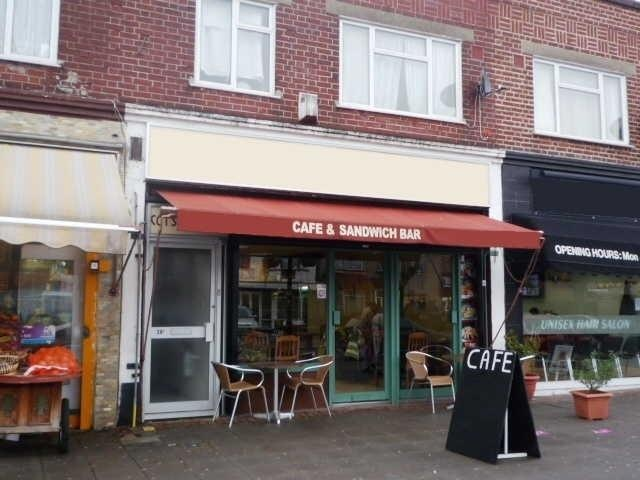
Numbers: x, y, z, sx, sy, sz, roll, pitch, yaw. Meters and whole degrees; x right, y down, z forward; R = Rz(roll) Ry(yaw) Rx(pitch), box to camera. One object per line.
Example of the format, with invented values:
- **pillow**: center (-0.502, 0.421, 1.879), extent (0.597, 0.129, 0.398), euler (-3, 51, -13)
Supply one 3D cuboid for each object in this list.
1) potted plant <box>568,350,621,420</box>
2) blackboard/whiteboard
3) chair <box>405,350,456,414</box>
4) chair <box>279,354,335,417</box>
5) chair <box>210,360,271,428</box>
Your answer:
- **potted plant**: center (5.102, 2.753, 13.511), extent (0.623, 1.233, 0.812), euler (5, -8, -18)
- **blackboard/whiteboard**: center (2.660, 2.558, 11.182), extent (1.272, 1.641, 0.722), euler (6, 8, 41)
- **chair**: center (2.204, 2.823, 14.272), extent (0.791, 1.153, 0.844), euler (0, -13, -22)
- **chair**: center (-0.243, 2.703, 13.539), extent (0.884, 1.057, 0.895), euler (8, 1, 19)
- **chair**: center (-1.482, 2.799, 13.195), extent (0.991, 1.483, 1.078), euler (0, -3, -25)
